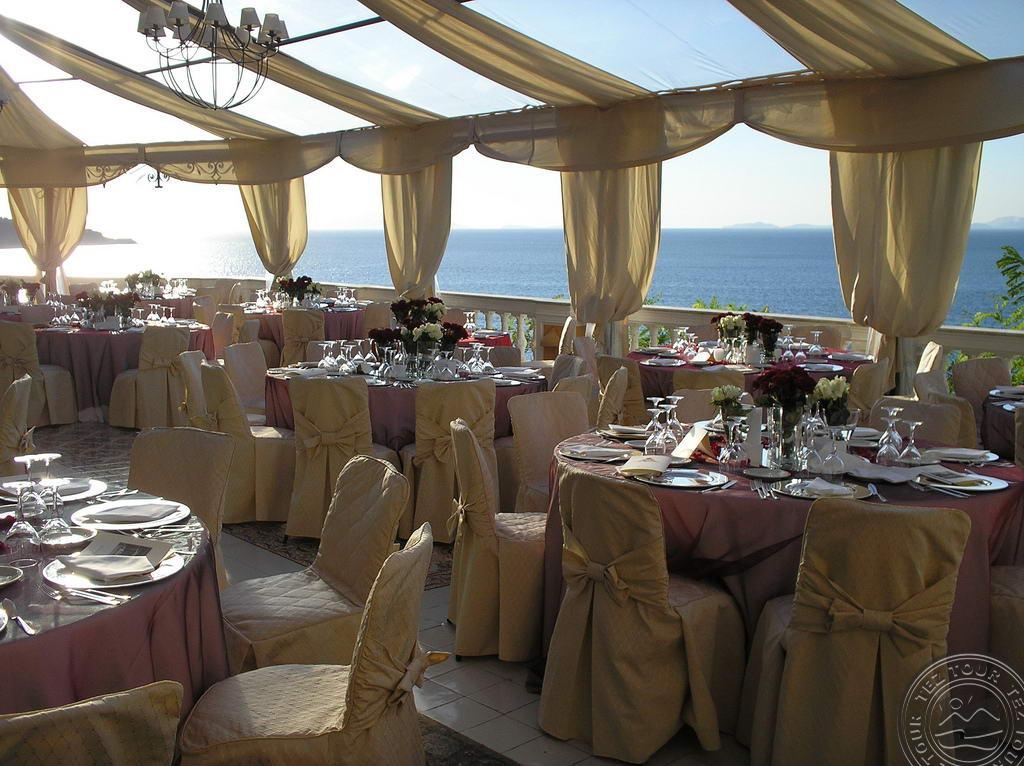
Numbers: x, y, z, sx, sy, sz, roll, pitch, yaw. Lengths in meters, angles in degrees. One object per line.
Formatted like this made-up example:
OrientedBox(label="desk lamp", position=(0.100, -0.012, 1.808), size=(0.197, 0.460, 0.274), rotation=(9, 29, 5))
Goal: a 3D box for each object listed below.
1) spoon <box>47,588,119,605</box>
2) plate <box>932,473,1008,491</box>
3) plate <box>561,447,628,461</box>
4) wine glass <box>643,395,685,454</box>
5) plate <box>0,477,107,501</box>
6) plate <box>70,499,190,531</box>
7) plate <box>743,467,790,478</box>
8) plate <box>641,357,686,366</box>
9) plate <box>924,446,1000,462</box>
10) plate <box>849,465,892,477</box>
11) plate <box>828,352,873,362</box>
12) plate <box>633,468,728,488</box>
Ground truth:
OrientedBox(label="spoon", position=(-1.302, 0.653, 2.421), size=(0.228, 0.025, 0.083), rotation=(3, 17, 0))
OrientedBox(label="plate", position=(1.978, 0.429, 3.383), size=(0.323, 0.040, 0.168), rotation=(-4, 7, -31))
OrientedBox(label="plate", position=(0.393, 0.347, 3.864), size=(0.308, 0.038, 0.199), rotation=(0, 6, 3))
OrientedBox(label="wine glass", position=(0.821, 0.223, 4.239), size=(0.091, 0.248, 0.251), rotation=(2, 9, 22))
OrientedBox(label="plate", position=(-1.833, 0.429, 3.238), size=(0.256, 0.040, 0.279), rotation=(2, 3, 8))
OrientedBox(label="plate", position=(-1.472, 0.499, 3.021), size=(0.433, 0.051, 0.331), rotation=(3, 7, 30))
OrientedBox(label="plate", position=(1.131, 0.401, 3.534), size=(0.209, 0.029, 0.159), rotation=(1, 6, 14))
OrientedBox(label="plate", position=(1.265, -0.172, 6.634), size=(0.363, 0.058, 0.315), rotation=(1, 6, 11))
OrientedBox(label="plate", position=(2.150, 0.353, 3.784), size=(0.383, 0.048, 0.160), rotation=(-2, 6, -14))
OrientedBox(label="plate", position=(1.578, 0.395, 3.475), size=(0.153, 0.039, 0.146), rotation=(-5, 7, -35))
OrientedBox(label="plate", position=(2.860, -0.218, 6.712), size=(0.317, 0.051, 0.314), rotation=(3, 7, 31))
OrientedBox(label="plate", position=(0.755, 0.420, 3.468), size=(0.357, 0.040, 0.322), rotation=(-5, 7, -36))
